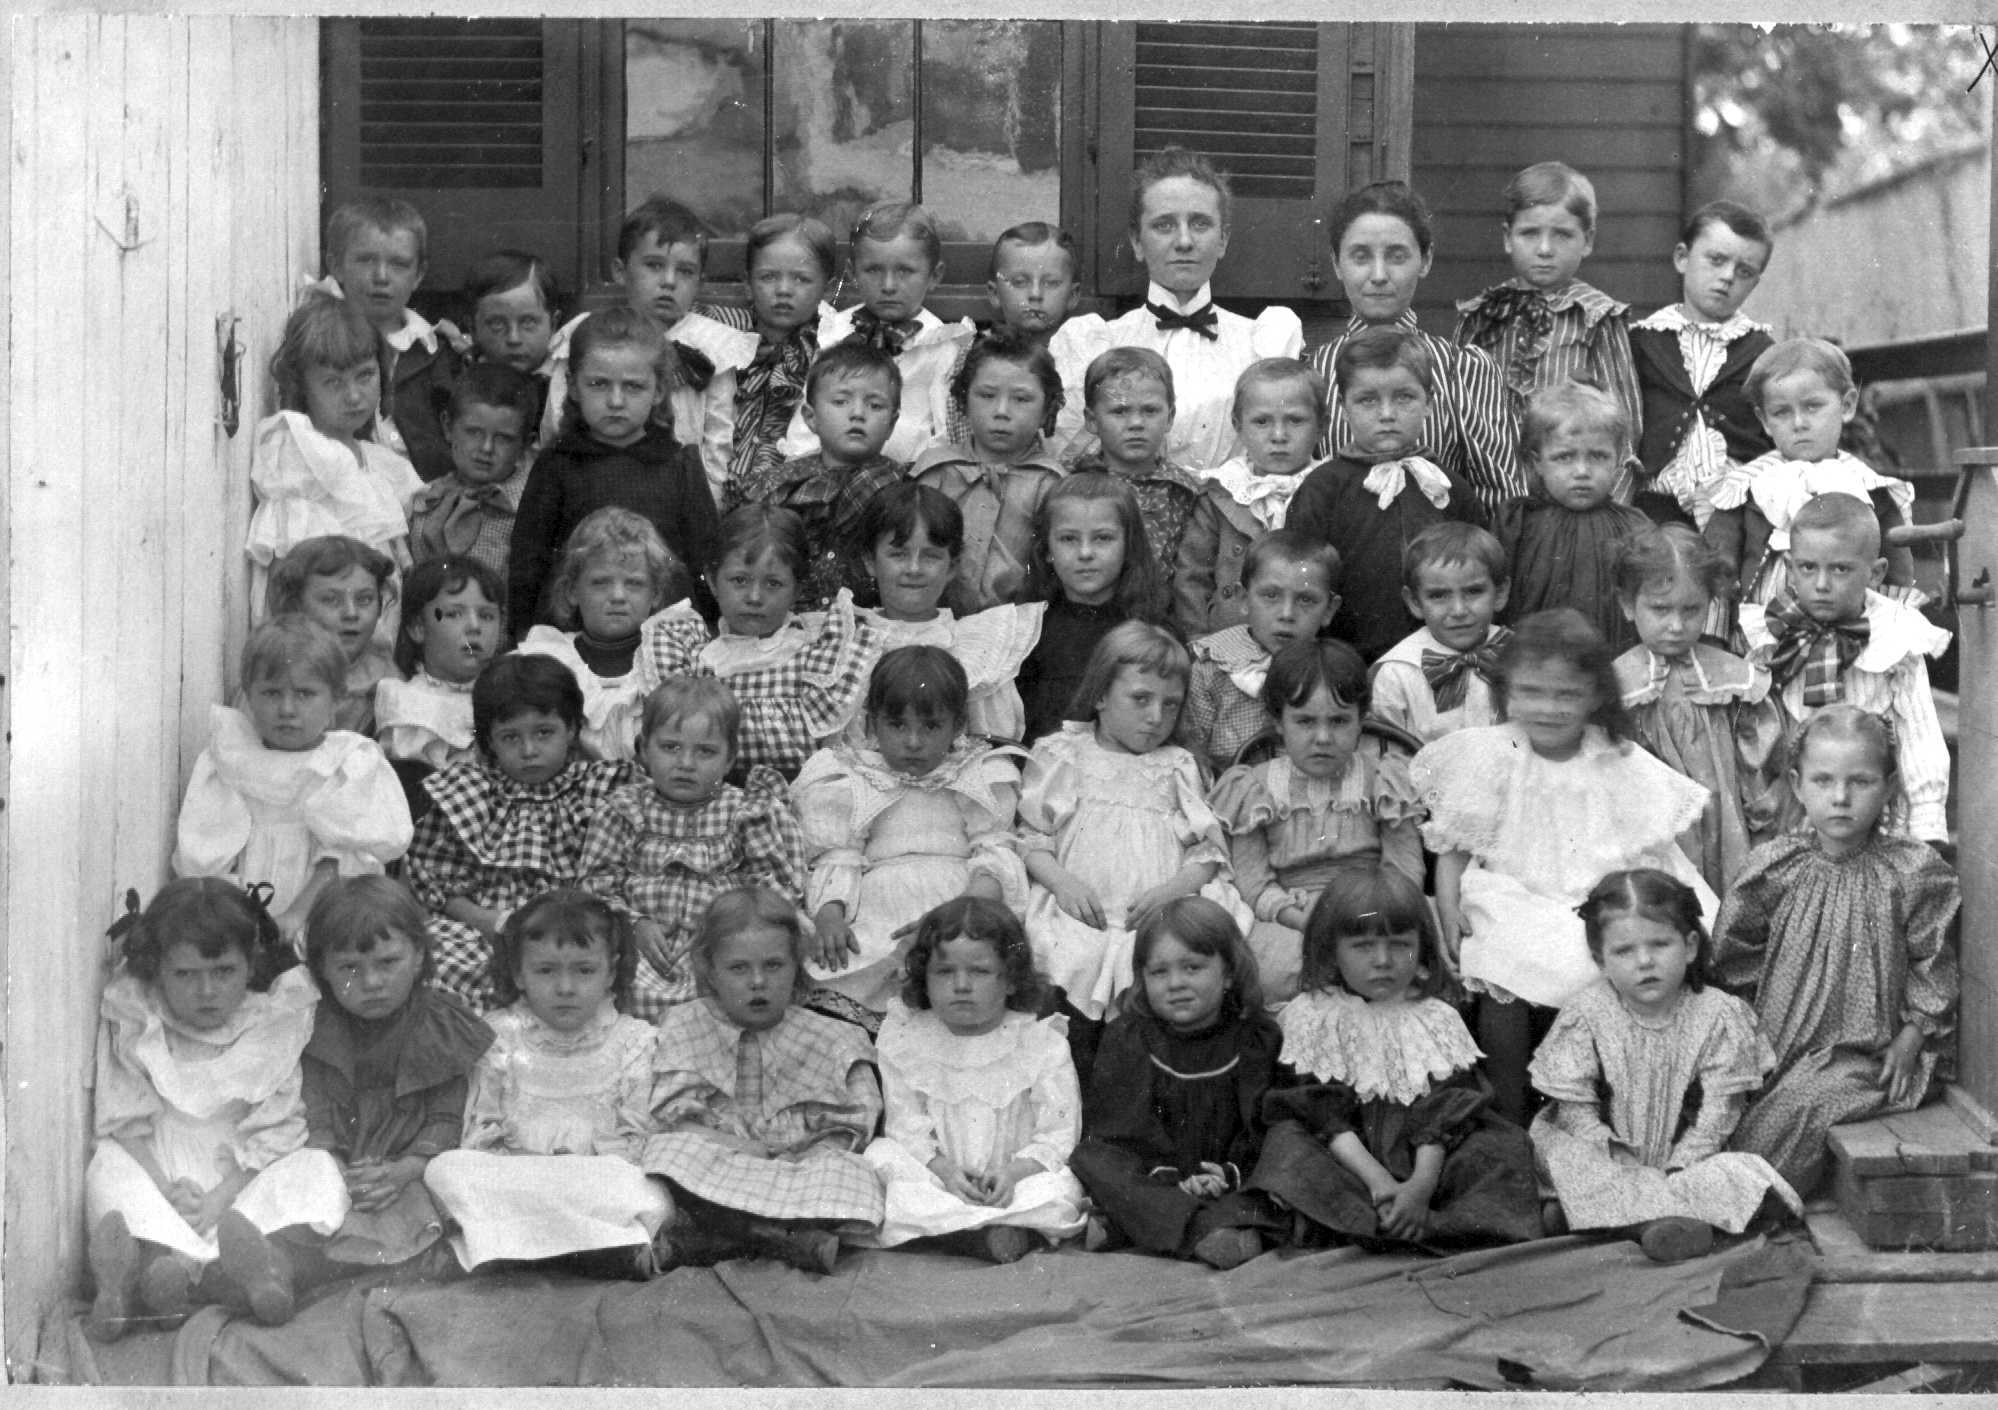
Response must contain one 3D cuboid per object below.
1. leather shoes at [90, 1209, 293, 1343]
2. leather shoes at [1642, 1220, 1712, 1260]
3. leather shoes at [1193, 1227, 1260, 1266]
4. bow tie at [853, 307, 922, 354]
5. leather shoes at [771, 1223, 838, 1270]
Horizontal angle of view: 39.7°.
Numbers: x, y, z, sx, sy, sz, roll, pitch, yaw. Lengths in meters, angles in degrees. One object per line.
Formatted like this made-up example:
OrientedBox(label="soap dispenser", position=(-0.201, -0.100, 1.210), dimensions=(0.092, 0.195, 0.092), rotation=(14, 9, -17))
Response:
OrientedBox(label="leather shoes", position=(-1.950, 1.357, 6.593), dimensions=(0.640, 0.194, 0.282), rotation=(12, -10, 5))
OrientedBox(label="leather shoes", position=(1.659, 1.281, 6.722), dimensions=(0.197, 0.098, 0.074), rotation=(-1, 8, -18))
OrientedBox(label="leather shoes", position=(0.557, 1.309, 6.791), dimensions=(0.125, 0.042, 0.086), rotation=(-5, 12, -13))
OrientedBox(label="bow tie", position=(-0.338, -1.081, 8.342), dimensions=(0.184, 0.153, 0.075), rotation=(4, -21, 1))
OrientedBox(label="leather shoes", position=(-0.481, 1.307, 6.728), dimensions=(0.175, 0.108, 0.094), rotation=(1, -14, 3))
